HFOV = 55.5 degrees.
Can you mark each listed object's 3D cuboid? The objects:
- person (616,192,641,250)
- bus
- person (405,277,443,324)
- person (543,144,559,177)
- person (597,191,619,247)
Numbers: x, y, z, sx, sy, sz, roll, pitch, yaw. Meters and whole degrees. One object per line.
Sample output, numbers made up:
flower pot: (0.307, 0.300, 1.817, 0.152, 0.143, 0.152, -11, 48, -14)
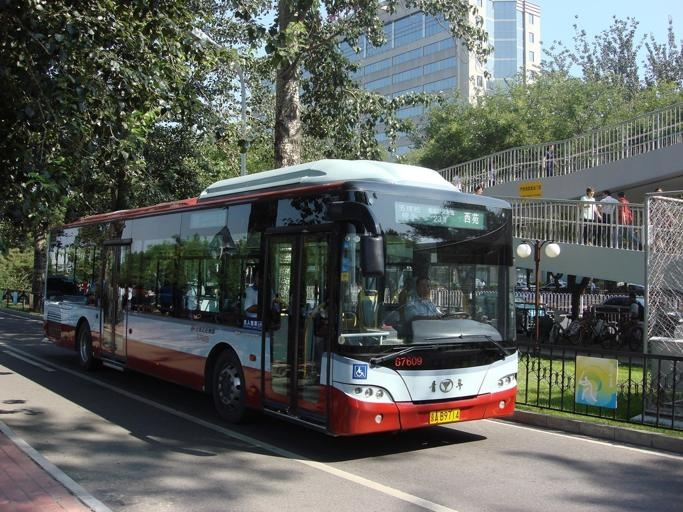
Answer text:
person: (8.497, -0.907, 19.136, 0.649, 1.293, 0.455, 2, 3, 23)
bus: (-2.663, 0.762, 13.763, 3.417, 3.864, 12.072, 3, -5, -35)
person: (1.185, 0.577, 9.474, 0.336, 0.626, 0.813, -7, 4, 30)
person: (9.079, -4.096, 28.120, 0.451, 1.392, 0.771, 0, 3, -20)
person: (8.000, -0.951, 19.448, 0.533, 1.341, 0.358, 2, 3, 33)
